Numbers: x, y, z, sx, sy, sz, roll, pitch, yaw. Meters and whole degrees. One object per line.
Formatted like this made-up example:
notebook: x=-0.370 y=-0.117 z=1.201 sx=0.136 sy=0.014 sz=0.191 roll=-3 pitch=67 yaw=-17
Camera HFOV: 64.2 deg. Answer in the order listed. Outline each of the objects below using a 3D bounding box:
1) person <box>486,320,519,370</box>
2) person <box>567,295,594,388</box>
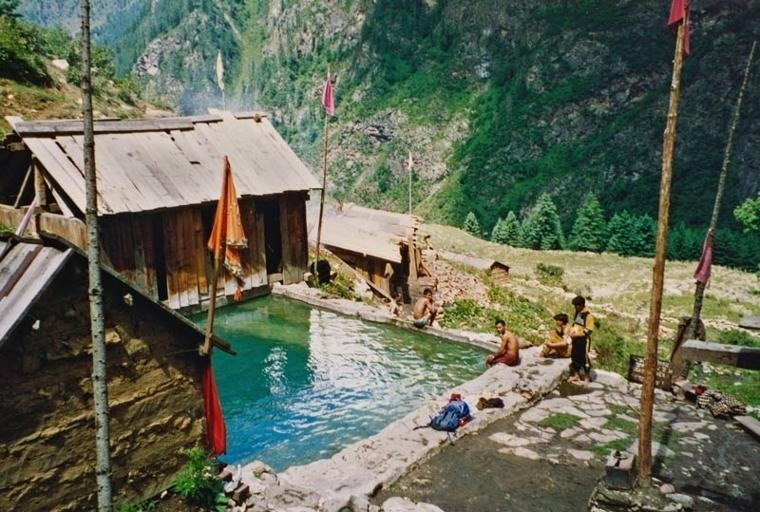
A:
person: x=4.571 y=3.232 z=22.300 sx=1.176 sy=1.695 sz=0.846 roll=6 pitch=1 yaw=10
person: x=7.031 y=2.913 z=21.165 sx=0.803 sy=3.111 sz=1.232 roll=6 pitch=1 yaw=20
